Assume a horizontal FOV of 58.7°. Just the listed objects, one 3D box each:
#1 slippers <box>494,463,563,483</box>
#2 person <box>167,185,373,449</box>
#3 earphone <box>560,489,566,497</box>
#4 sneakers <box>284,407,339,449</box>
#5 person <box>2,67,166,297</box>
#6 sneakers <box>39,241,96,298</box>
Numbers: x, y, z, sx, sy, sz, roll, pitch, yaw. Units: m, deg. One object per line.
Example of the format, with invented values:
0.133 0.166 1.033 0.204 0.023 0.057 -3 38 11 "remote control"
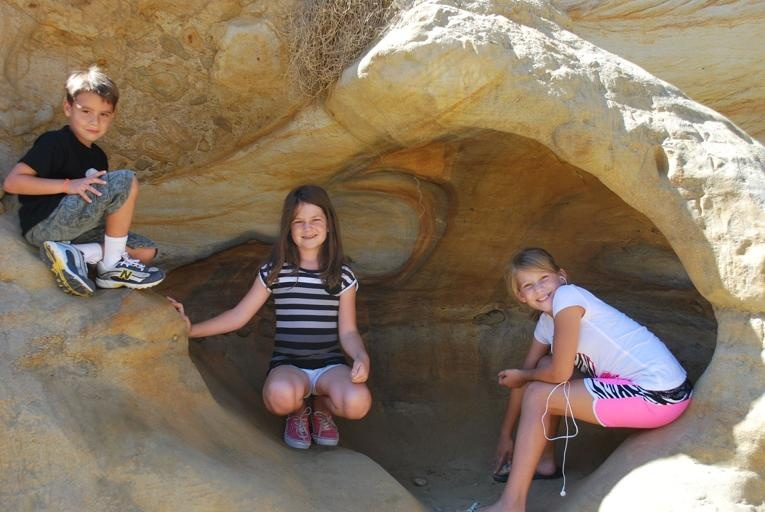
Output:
0.855 1.316 4.073 0.437 0.113 0.148 0 3 1 "slippers"
-0.524 0.336 4.039 1.017 1.532 0.494 7 6 -1 "person"
1.013 1.325 3.801 0.043 0.016 0.057 1 7 8 "earphone"
-0.422 1.017 4.004 0.234 0.131 0.308 4 -9 -15 "sneakers"
-1.562 -0.410 3.585 0.701 1.209 0.430 10 6 24 "person"
-1.675 0.047 3.600 0.155 0.374 0.201 -36 -17 34 "sneakers"
